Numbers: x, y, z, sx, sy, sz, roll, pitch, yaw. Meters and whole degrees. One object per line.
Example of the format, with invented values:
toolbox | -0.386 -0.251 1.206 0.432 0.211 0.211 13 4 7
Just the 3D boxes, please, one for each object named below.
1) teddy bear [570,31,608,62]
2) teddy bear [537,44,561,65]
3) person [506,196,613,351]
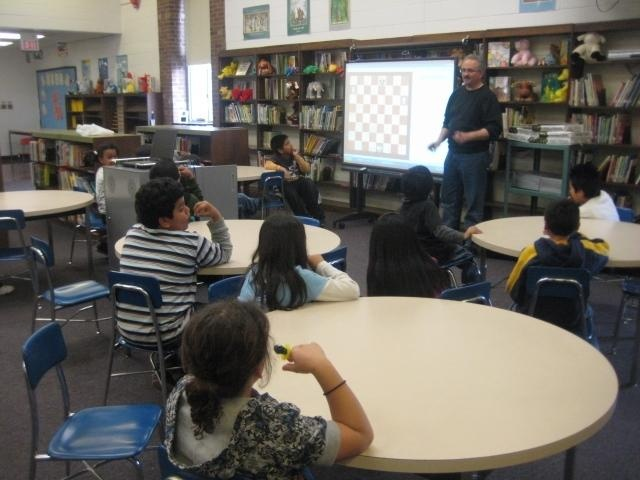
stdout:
teddy bear | 2.623 -1.887 5.129 0.263 0.311 0.157 14 -7 44
teddy bear | 2.377 -1.905 5.436 0.177 0.280 0.251 6 14 21
person | 1.356 0.150 2.987 0.536 0.746 0.450 4 13 19
